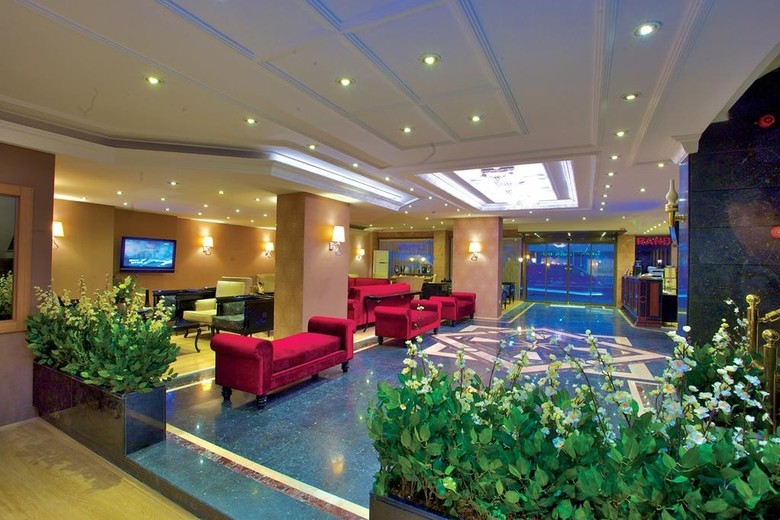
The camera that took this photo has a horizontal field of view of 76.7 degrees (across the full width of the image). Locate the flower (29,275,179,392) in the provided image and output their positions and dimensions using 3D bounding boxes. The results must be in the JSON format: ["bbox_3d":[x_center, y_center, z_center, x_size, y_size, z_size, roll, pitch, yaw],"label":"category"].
[{"bbox_3d":[-3.175,0.823,5.696,1.919,1.010,1.034,11,0,31],"label":"flower"}]

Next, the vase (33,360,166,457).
[{"bbox_3d":[-3.272,1.617,5.504,1.835,0.745,0.555,9,7,33],"label":"vase"}]

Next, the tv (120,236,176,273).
[{"bbox_3d":[-5.814,-0.119,11.807,0.084,1.044,1.401,8,15,33],"label":"tv"}]
